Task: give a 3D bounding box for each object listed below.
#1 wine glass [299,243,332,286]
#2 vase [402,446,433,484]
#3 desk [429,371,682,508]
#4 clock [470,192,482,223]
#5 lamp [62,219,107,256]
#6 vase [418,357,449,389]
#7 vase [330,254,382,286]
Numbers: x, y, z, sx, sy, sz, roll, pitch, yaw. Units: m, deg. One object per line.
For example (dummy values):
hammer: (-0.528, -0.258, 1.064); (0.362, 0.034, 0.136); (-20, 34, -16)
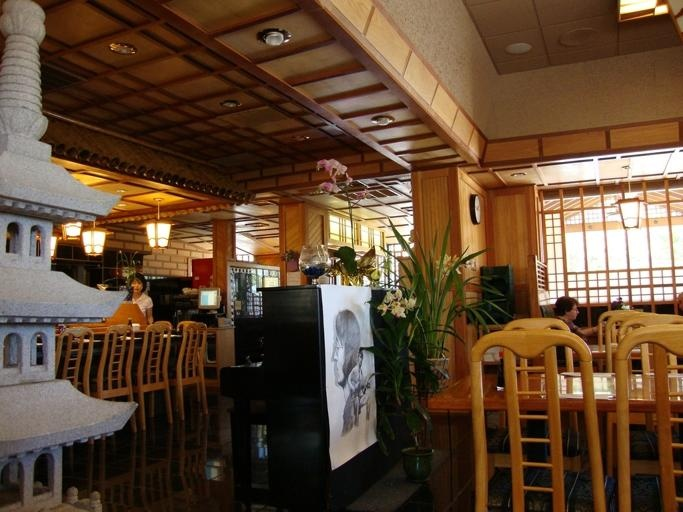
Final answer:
wine glass: (-0.167, 0.066, 3.493); (0.242, 0.272, 0.247); (-1, 2, -35)
vase: (0.548, 1.485, 3.825); (0.254, 0.175, 0.240); (-2, -16, 10)
desk: (1.126, 0.998, 2.859); (1.183, 0.641, 1.128); (-3, -4, 12)
clock: (2.001, -0.714, 7.986); (0.066, 0.380, 0.381); (-8, -44, 15)
lamp: (-3.999, -0.309, 8.475); (0.492, 0.682, 2.062); (-8, -3, -23)
vase: (0.667, 0.841, 3.836); (0.275, 0.180, 0.243); (-2, -8, 3)
vase: (0.088, 0.127, 3.810); (0.285, 0.201, 0.290); (-2, 5, 26)
